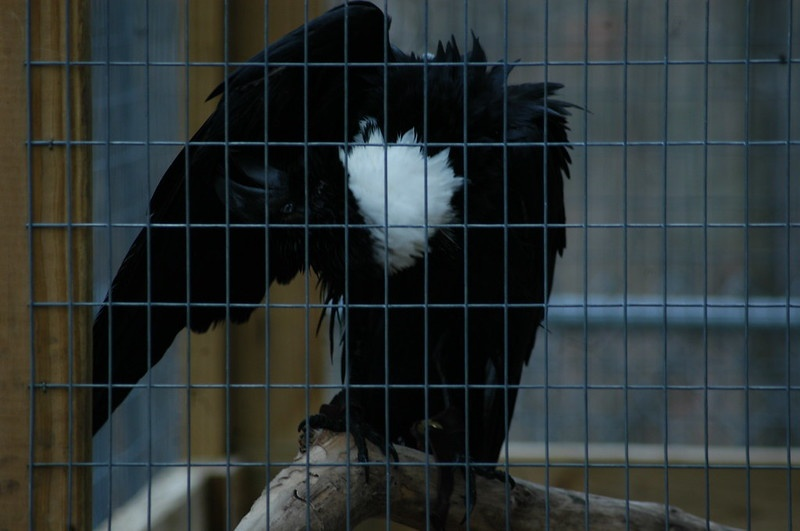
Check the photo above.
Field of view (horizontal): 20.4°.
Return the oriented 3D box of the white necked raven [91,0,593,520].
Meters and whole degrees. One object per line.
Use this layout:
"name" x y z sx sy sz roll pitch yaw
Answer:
"white necked raven" -0.264 0.017 6.733 1.211 1.406 1.104 3 -92 -14
